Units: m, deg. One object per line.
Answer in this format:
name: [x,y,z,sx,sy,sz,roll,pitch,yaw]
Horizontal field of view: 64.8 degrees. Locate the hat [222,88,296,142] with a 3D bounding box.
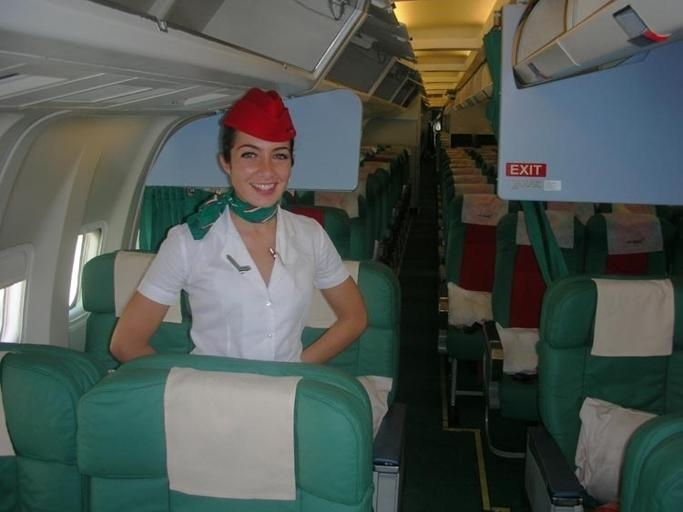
hat: [-0.237,-0.443,1.681,0.241,0.122,0.175,26,31,38]
